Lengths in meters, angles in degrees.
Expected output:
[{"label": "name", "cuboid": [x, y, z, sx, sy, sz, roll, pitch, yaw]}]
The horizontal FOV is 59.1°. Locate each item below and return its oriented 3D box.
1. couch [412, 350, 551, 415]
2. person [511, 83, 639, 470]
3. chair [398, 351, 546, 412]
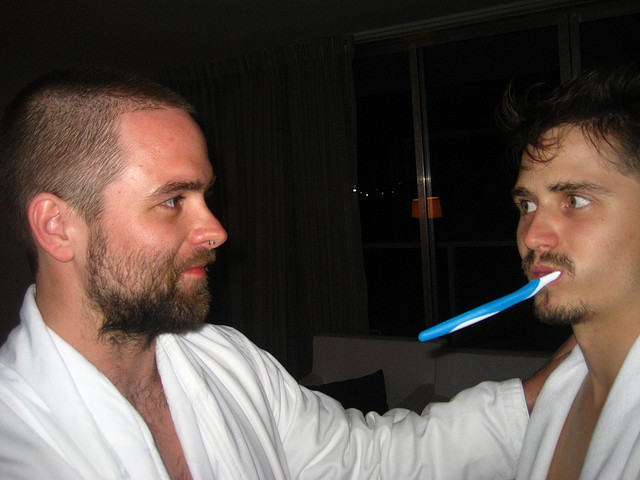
[{"label": "couch", "cuboid": [0.763, 0.613, 2.708, 0.722, 0.377, 0.455, -2, -6, 21]}, {"label": "person", "cuboid": [0.706, 0.096, 1.566, 0.376, 1.124, 0.250, -4, -5, 15]}, {"label": "chair", "cuboid": [0.633, 0.573, 2.309, 0.427, 0.164, 0.127, 0, 4, 40]}]
